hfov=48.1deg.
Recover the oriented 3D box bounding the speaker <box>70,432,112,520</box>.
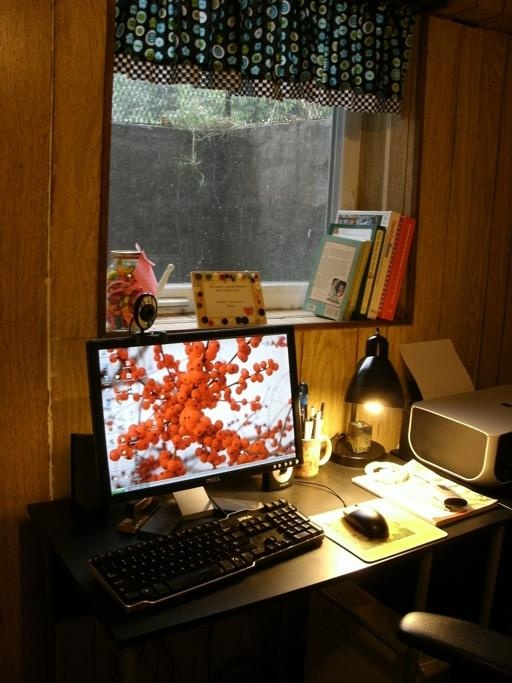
[{"bbox_3d":[-0.377,0.265,1.225,0.076,0.141,0.103,6,-18,-34],"label":"speaker"}]

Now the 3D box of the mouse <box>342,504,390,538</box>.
[{"bbox_3d":[0.228,0.368,1.197,0.055,0.045,0.113,-2,8,-27],"label":"mouse"}]

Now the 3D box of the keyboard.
[{"bbox_3d":[-0.071,0.380,1.051,0.447,0.050,0.195,-2,4,-42],"label":"keyboard"}]
